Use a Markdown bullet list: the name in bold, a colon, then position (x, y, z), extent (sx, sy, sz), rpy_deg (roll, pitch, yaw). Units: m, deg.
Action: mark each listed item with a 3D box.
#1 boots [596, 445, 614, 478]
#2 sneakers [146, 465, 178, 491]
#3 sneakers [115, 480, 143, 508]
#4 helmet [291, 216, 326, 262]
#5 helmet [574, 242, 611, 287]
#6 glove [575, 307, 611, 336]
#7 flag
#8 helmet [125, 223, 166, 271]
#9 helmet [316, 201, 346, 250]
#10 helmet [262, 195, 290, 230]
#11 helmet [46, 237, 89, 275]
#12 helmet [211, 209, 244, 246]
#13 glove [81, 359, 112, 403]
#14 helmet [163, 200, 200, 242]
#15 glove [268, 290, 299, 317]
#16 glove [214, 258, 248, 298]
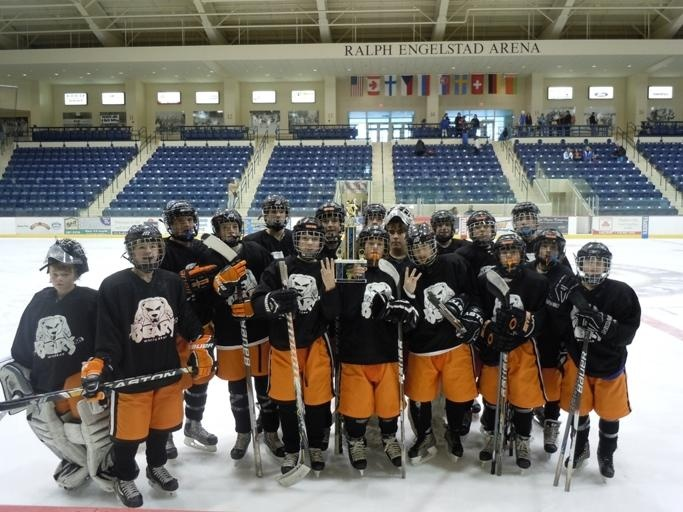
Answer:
- **boots**: position (2.656, 2.043, 6.098), extent (0.182, 0.285, 0.184), rpy_deg (1, 15, 6)
- **sneakers**: position (-1.749, 2.169, 5.949), extent (0.402, 0.187, 0.148), rpy_deg (5, 15, 45)
- **sneakers**: position (-2.032, 2.244, 5.802), extent (0.284, 0.228, 0.140), rpy_deg (11, 18, 37)
- **helmet**: position (-0.335, -0.156, 6.300), extent (0.331, 0.463, 0.459), rpy_deg (2, -15, -3)
- **helmet**: position (2.532, 0.051, 6.164), extent (0.324, 0.463, 0.452), rpy_deg (4, 6, 23)
- **glove**: position (2.446, 0.642, 5.933), extent (0.336, 0.246, 0.108), rpy_deg (5, 16, 22)
- **flag**: position (4.150, -7.731, 27.298), extent (8.095, 0.112, 1.789), rpy_deg (-1, 6, 3)
- **helmet**: position (-1.969, -0.106, 6.044), extent (0.387, 0.491, 0.486), rpy_deg (-5, 1, -20)
- **helmet**: position (-0.137, -0.369, 6.791), extent (0.365, 0.535, 0.526), rpy_deg (-8, -11, 4)
- **helmet**: position (-0.799, -0.546, 7.136), extent (0.315, 0.410, 0.411), rpy_deg (-1, 10, -24)
- **helmet**: position (-2.735, -0.031, 6.023), extent (0.283, 0.329, 0.420), rpy_deg (11, 18, 6)
- **helmet**: position (-1.280, -0.290, 6.787), extent (0.302, 0.396, 0.385), rpy_deg (-20, 0, -18)
- **glove**: position (-2.331, 1.087, 5.694), extent (0.271, 0.211, 0.474), rpy_deg (1, 12, -13)
- **helmet**: position (-1.813, -0.403, 6.763), extent (0.364, 0.460, 0.458), rpy_deg (-8, 4, -30)
- **glove**: position (-0.593, 0.456, 5.996), extent (0.304, 0.266, 0.109), rpy_deg (-3, 14, -9)
- **glove**: position (-1.139, 0.205, 6.174), extent (0.321, 0.377, 0.264), rpy_deg (-4, 15, -13)
